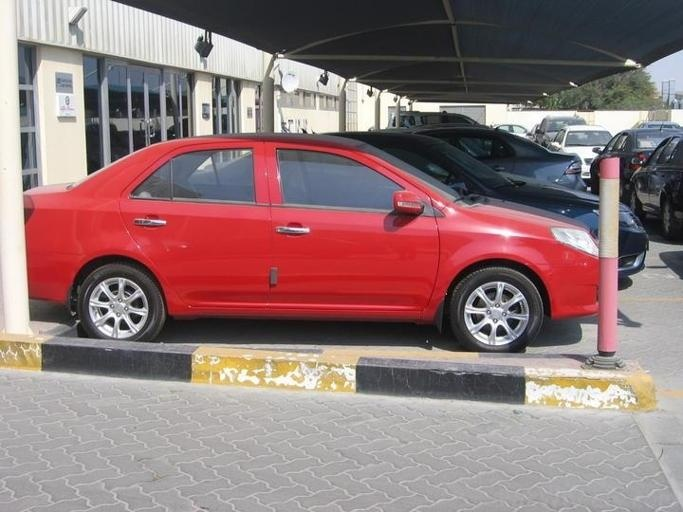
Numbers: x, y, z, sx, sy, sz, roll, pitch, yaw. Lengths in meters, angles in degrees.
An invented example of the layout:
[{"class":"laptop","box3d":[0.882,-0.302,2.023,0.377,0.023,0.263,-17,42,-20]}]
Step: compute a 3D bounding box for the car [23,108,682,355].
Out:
[{"class":"car","box3d":[0.100,-0.330,5.676,5.326,1.458,2.130,0,6,4]}]
